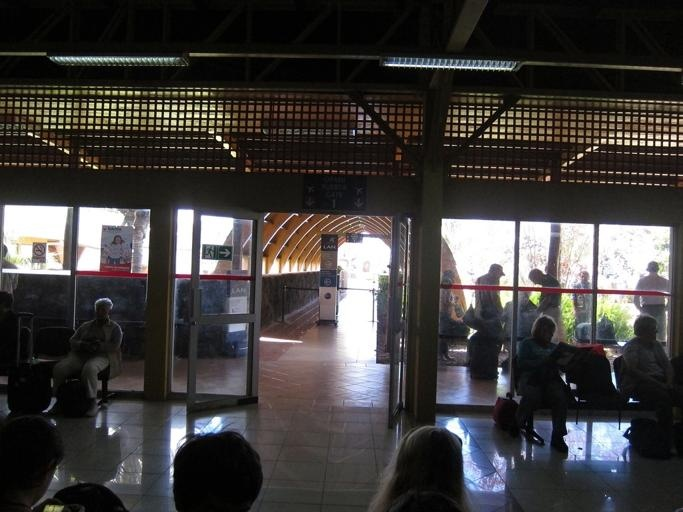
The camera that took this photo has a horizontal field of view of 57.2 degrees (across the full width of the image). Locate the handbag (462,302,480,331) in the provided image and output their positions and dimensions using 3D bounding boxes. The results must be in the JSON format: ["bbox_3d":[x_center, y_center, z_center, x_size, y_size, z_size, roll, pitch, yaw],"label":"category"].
[{"bbox_3d":[2.043,0.957,9.829,0.123,0.351,0.267,-2,1,2],"label":"handbag"}]

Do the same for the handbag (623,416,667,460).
[{"bbox_3d":[4.072,2.411,8.341,0.386,0.439,0.177,-2,-18,17],"label":"handbag"}]

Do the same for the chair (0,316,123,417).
[{"bbox_3d":[-4.172,1.657,9.638,1.313,1.933,1.468,-2,-15,14],"label":"chair"}]

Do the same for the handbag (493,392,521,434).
[{"bbox_3d":[2.368,2.269,8.912,0.283,0.470,0.495,2,0,3],"label":"handbag"}]

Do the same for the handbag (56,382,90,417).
[{"bbox_3d":[-3.822,2.026,9.003,0.469,0.513,0.378,1,-1,-7],"label":"handbag"}]
